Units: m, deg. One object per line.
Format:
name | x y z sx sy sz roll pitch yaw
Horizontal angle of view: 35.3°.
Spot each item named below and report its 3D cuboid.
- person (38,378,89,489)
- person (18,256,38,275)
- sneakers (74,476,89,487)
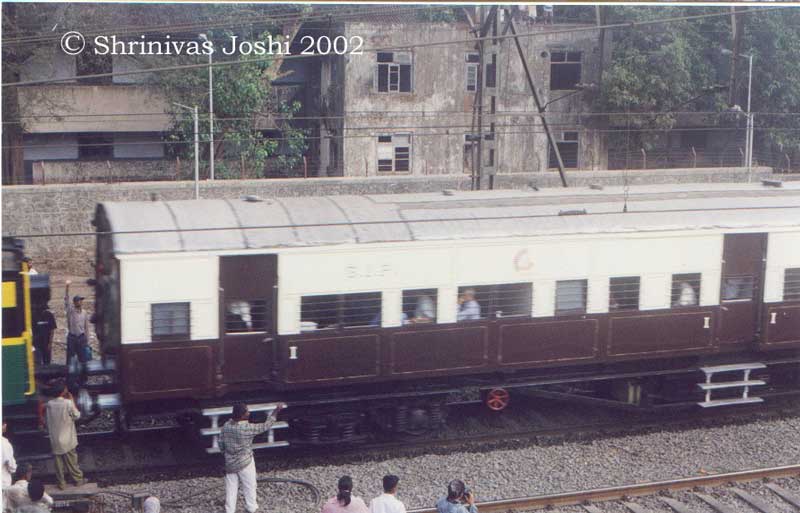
person | -8.080 4.320 30.392 0.746 2.481 0.642 -9 9 -17
person | -10.109 0.245 34.104 0.249 0.290 0.719 1 -26 -7
sneakers | -7.726 5.451 30.433 0.121 0.151 0.391 22 15 20
